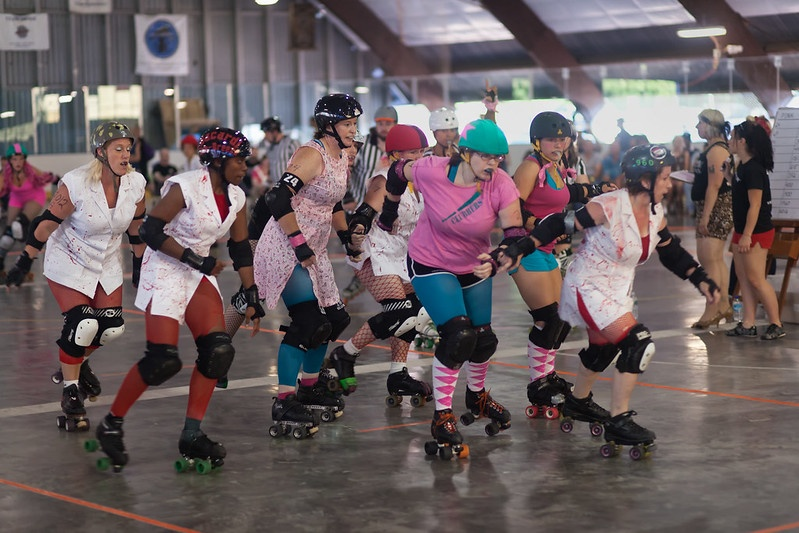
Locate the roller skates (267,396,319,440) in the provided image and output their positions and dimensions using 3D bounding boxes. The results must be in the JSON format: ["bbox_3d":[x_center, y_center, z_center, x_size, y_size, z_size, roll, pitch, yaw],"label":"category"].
[{"bbox_3d":[-0.825,1.171,6.995,0.425,0.328,0.276,2,4,27],"label":"roller skates"}]

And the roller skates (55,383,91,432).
[{"bbox_3d":[-2.692,1.150,7.267,0.226,0.351,0.573,-2,0,-29],"label":"roller skates"}]

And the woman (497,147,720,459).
[{"bbox_3d":[1.501,0.240,6.535,0.946,2.225,0.592,2,10,18],"label":"woman"}]

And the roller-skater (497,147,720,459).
[{"bbox_3d":[1.499,0.240,6.535,0.950,2.225,0.592,2,10,18],"label":"roller-skater"}]

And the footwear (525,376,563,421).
[{"bbox_3d":[1.190,1.082,7.262,0.348,0.352,0.301,0,1,24],"label":"footwear"}]

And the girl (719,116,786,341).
[{"bbox_3d":[3.990,-0.389,9.818,0.621,2.388,0.583,2,10,16],"label":"girl"}]

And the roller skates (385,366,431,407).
[{"bbox_3d":[0.094,1.054,7.768,0.409,0.309,0.247,-1,4,16],"label":"roller skates"}]

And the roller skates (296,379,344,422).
[{"bbox_3d":[-0.660,1.110,7.385,0.402,0.288,0.268,4,2,21],"label":"roller skates"}]

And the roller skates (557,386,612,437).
[{"bbox_3d":[1.453,1.161,6.917,0.436,0.307,0.226,4,6,13],"label":"roller skates"}]

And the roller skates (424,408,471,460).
[{"bbox_3d":[0.353,1.231,6.548,0.248,0.321,0.427,0,2,-19],"label":"roller skates"}]

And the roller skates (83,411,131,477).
[{"bbox_3d":[-2.056,1.252,6.315,0.249,0.324,0.456,19,7,-41],"label":"roller skates"}]

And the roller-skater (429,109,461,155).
[{"bbox_3d":[0.427,-1.248,8.186,0.288,0.451,0.361,-6,23,-10],"label":"roller-skater"}]

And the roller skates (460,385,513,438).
[{"bbox_3d":[0.704,1.130,6.998,0.437,0.297,0.270,10,14,38],"label":"roller skates"}]
